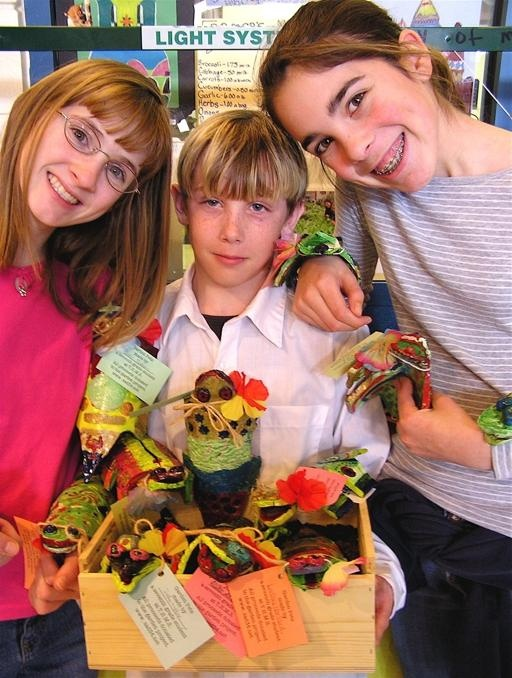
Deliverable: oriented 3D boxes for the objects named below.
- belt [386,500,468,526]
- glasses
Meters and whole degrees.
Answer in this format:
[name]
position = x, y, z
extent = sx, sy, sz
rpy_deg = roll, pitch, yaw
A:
[belt]
position = 0.320, 0.322, 1.047
extent = 0.066, 0.022, 0.048
rpy_deg = 20, 12, -12
[glasses]
position = -0.291, -0.328, 1.020
extent = 0.125, 0.039, 0.123
rpy_deg = 36, -2, 45
